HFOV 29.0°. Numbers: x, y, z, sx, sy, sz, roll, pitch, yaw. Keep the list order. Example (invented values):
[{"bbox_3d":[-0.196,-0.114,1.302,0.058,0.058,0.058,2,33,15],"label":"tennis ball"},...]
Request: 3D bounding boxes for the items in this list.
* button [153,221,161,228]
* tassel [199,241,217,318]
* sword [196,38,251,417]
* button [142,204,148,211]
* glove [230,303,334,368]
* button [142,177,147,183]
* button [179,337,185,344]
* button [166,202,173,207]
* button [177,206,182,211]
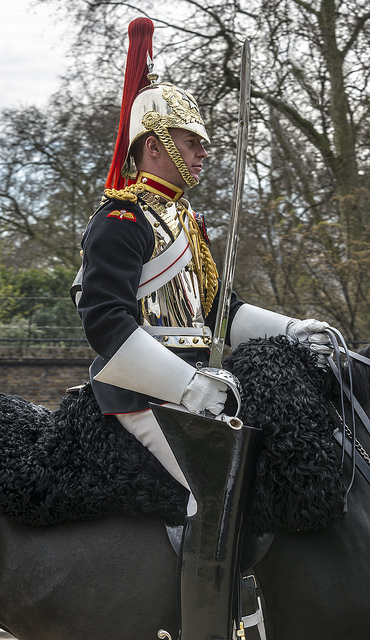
[{"bbox_3d":[-0.083,-0.289,2.164,0.021,0.019,0.011,-6,15,-43],"label":"button"},{"bbox_3d":[0.086,-0.148,2.334,0.064,0.213,0.059,7,9,16],"label":"tassel"},{"bbox_3d":[0.125,-0.249,1.889,0.133,0.985,0.375,4,11,1],"label":"sword"},{"bbox_3d":[-0.119,-0.340,2.171,0.014,0.014,0.013,0,-4,-5],"label":"button"},{"bbox_3d":[0.339,0.038,2.450,0.356,0.140,0.175,8,32,17],"label":"glove"},{"bbox_3d":[-0.126,-0.444,2.267,0.014,0.012,0.003,26,5,39],"label":"button"},{"bbox_3d":[-0.009,0.062,2.108,0.021,0.017,0.004,7,-11,-22],"label":"button"},{"bbox_3d":[-0.047,-0.361,2.244,0.009,0.014,0.030,9,11,25],"label":"button"},{"bbox_3d":[-0.016,-0.355,2.279,0.008,0.014,0.024,8,10,21],"label":"button"}]
